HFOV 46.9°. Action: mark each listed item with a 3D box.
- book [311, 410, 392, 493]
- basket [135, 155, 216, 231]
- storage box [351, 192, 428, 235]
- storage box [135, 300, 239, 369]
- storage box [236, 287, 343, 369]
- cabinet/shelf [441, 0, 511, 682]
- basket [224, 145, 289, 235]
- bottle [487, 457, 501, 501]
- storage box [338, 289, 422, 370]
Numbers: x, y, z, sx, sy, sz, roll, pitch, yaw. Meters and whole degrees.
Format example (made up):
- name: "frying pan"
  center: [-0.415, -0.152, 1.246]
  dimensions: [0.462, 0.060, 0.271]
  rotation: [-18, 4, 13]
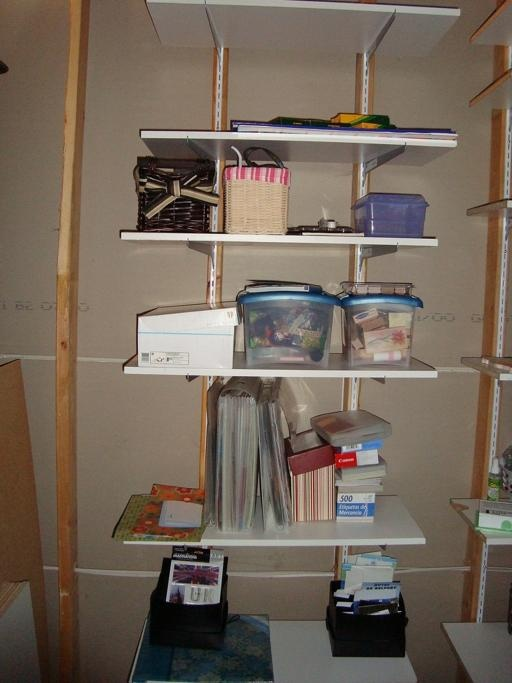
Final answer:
- name: "book"
  center: [0.307, 0.350, 1.895]
  dimensions: [0.229, 0.198, 0.278]
  rotation: [-1, -10, 3]
- name: "basket"
  center: [-0.234, -0.428, 1.788]
  dimensions: [0.244, 0.209, 0.239]
  rotation: [-1, 12, -9]
- name: "storage box"
  center: [0.416, -0.374, 1.830]
  dimensions: [0.153, 0.101, 0.200]
  rotation: [2, 5, 1]
- name: "storage box"
  center: [-0.208, -0.021, 1.763]
  dimensions: [0.217, 0.132, 0.216]
  rotation: [2, 3, -4]
- name: "storage box"
  center: [0.087, -0.043, 1.725]
  dimensions: [0.328, 0.236, 0.231]
  rotation: [0, 2, -2]
- name: "cabinet/shelf"
  center: [0.795, 0.082, 2.110]
  dimensions: [0.194, 2.560, 0.316]
  rotation: [4, 7, 18]
- name: "basket"
  center: [-0.002, -0.406, 1.715]
  dimensions: [0.185, 0.197, 0.066]
  rotation: [1, 7, -4]
- name: "bottle"
  center: [0.816, 0.477, 2.022]
  dimensions: [0.036, 0.143, 0.072]
  rotation: [4, 7, 18]
- name: "storage box"
  center: [0.355, -0.042, 1.865]
  dimensions: [0.295, 0.278, 0.213]
  rotation: [1, -2, 2]
